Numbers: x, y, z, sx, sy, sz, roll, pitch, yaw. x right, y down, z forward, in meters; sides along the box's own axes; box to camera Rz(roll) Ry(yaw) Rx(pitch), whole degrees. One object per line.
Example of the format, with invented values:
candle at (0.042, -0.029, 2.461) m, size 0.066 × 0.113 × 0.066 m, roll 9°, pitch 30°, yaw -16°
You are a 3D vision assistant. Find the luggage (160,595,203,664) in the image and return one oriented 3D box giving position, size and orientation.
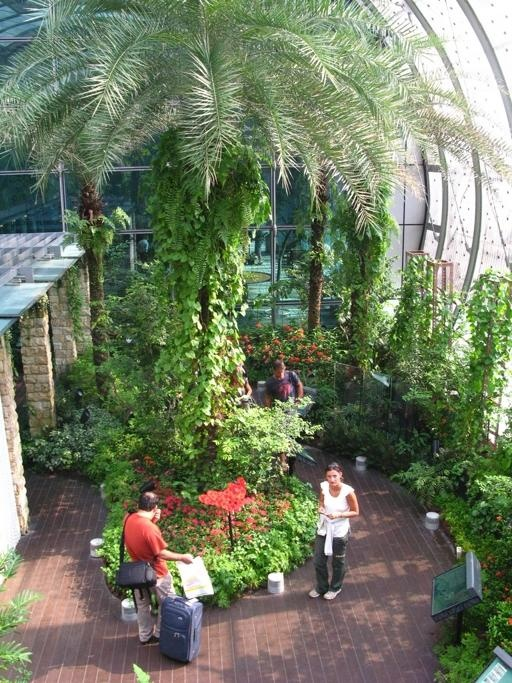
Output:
luggage at (-0.678, 2.552, 4.602) m, size 0.349 × 0.503 × 0.277 m, roll 3°, pitch -4°, yaw 25°

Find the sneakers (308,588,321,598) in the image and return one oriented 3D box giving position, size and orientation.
sneakers at (0.623, 2.681, 5.507) m, size 0.099 × 0.063 × 0.155 m, roll 0°, pitch -10°, yaw 6°

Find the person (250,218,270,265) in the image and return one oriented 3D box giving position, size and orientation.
person at (0.099, -2.684, 13.998) m, size 0.581 × 1.196 × 0.258 m, roll -1°, pitch 10°, yaw 1°

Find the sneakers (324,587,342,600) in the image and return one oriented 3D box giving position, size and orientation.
sneakers at (0.815, 2.682, 5.491) m, size 0.183 × 0.071 × 0.067 m, roll -2°, pitch -1°, yaw -44°

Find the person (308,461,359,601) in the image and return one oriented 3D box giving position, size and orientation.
person at (0.764, 1.965, 5.230) m, size 0.426 × 1.626 × 0.511 m, roll -2°, pitch 10°, yaw -3°

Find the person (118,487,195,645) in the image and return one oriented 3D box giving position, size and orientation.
person at (-0.872, 2.001, 4.532) m, size 0.673 × 1.317 × 0.425 m, roll -2°, pitch 7°, yaw 2°

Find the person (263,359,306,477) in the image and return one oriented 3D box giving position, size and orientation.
person at (0.420, 1.208, 7.681) m, size 0.527 × 1.876 × 0.838 m, roll -1°, pitch 10°, yaw 2°
